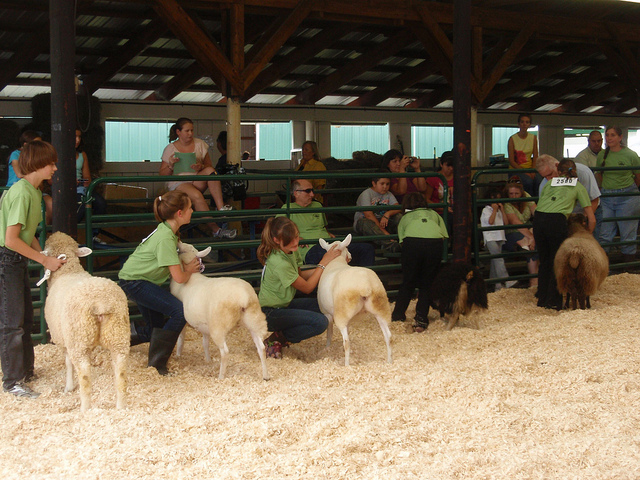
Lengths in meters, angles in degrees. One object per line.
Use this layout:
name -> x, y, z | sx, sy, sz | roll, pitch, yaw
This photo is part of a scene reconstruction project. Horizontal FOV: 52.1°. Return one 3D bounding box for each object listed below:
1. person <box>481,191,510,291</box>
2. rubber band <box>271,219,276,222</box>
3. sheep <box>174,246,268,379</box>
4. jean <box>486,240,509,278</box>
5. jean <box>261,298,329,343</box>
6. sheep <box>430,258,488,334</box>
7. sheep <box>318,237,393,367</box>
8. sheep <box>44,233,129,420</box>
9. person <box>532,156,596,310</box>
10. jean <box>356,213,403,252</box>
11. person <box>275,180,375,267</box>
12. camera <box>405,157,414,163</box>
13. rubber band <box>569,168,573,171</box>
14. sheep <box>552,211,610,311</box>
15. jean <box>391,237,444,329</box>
person -> 2.117, 0.031, 7.970 | 0.326, 1.206, 0.657 | 1, 11, 14
rubber band -> -0.399, -0.171, 5.615 | 0.020, 0.017, 0.036 | -4, 13, -12
sheep -> -0.897, 0.575, 5.426 | 0.455, 1.112, 1.352 | -1, 4, -38
jean -> 2.160, 0.261, 8.009 | 0.268, 0.540, 0.556 | 1, 12, 14
jean -> -0.205, 0.711, 5.665 | 0.329, 0.298, 0.517 | -8, 6, -27
sheep -> 1.387, 0.540, 6.631 | 0.514, 0.762, 1.099 | 0, -2, -2
sheep -> 0.244, 0.543, 5.775 | 0.451, 1.077, 1.380 | -1, 3, -10
sheep -> -1.885, 0.620, 5.150 | 0.464, 1.326, 1.421 | -3, 5, -34
person -> 2.671, -0.108, 7.251 | 0.790, 1.598, 0.594 | -5, 12, -44
jean -> 0.656, -0.124, 7.432 | 0.458, 0.205, 0.420 | 28, 26, 32
person -> -0.052, -0.154, 6.824 | 0.554, 1.198, 1.339 | -6, 19, -27
camera -> 1.052, -0.943, 7.679 | 0.086, 0.077, 0.259 | 2, 13, 14
rubber band -> 2.673, -0.764, 6.999 | 0.038, 0.026, 0.014 | -6, 12, -22
sheep -> 2.711, 0.251, 6.907 | 0.583, 1.063, 0.478 | -11, 15, -42
jean -> 0.957, 0.430, 6.583 | 0.859, 0.898, 0.270 | -1, 3, -32
